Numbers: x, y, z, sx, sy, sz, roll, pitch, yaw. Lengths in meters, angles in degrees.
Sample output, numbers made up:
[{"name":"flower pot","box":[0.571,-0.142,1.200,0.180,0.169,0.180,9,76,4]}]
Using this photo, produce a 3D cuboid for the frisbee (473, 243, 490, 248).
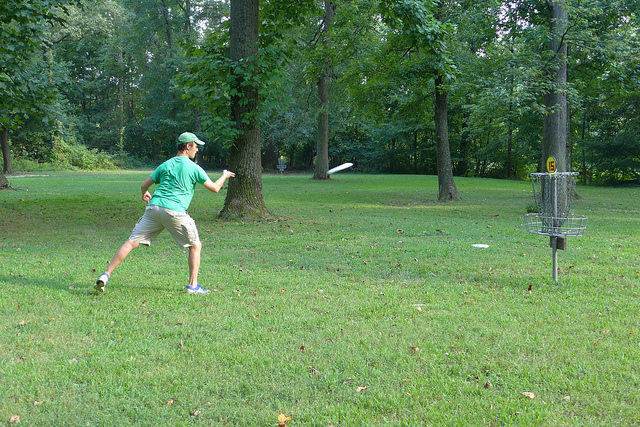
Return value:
[{"name":"frisbee","box":[4.621,0.904,17.513,0.435,0.084,0.456,2,3,13]}]
